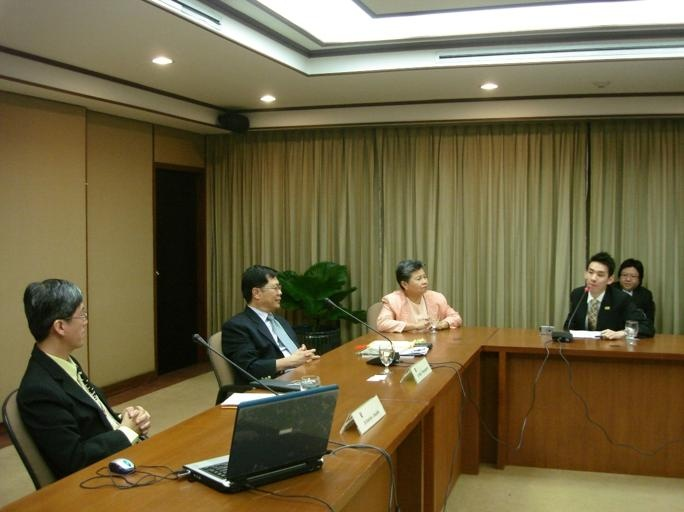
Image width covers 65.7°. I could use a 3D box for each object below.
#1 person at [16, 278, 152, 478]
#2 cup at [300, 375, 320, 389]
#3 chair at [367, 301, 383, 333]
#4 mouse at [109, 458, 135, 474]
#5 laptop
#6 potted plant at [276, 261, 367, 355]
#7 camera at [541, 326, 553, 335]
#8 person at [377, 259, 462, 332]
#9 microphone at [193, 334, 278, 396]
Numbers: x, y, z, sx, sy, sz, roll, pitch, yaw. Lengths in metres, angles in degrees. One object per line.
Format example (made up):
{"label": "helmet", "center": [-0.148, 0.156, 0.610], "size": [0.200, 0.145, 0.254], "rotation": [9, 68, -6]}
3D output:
{"label": "person", "center": [-1.238, 0.546, 2.531], "size": [0.519, 0.817, 0.456], "rotation": [-3, 3, 14]}
{"label": "cup", "center": [-0.173, 0.660, 2.774], "size": [0.092, 0.072, 0.096], "rotation": [0, -4, 0]}
{"label": "chair", "center": [0.299, 0.527, 4.756], "size": [0.168, 0.231, 0.197], "rotation": [-3, -24, 6]}
{"label": "mouse", "center": [-0.879, 0.844, 2.125], "size": [0.095, 0.047, 0.100], "rotation": [-6, 3, -35]}
{"label": "laptop", "center": [-0.337, 0.617, 2.153], "size": [0.431, 0.336, 0.432], "rotation": [-1, 3, -37]}
{"label": "potted plant", "center": [-0.129, 0.652, 6.544], "size": [1.061, 1.320, 0.908], "rotation": [-5, -7, 38]}
{"label": "camera", "center": [1.583, 0.570, 4.104], "size": [0.080, 0.073, 0.104], "rotation": [-2, -7, 37]}
{"label": "person", "center": [0.603, 0.459, 4.672], "size": [0.797, 0.686, 0.554], "rotation": [0, -10, -22]}
{"label": "microphone", "center": [-0.745, 0.607, 3.409], "size": [0.222, 0.237, 2.172], "rotation": [5, -1, -18]}
